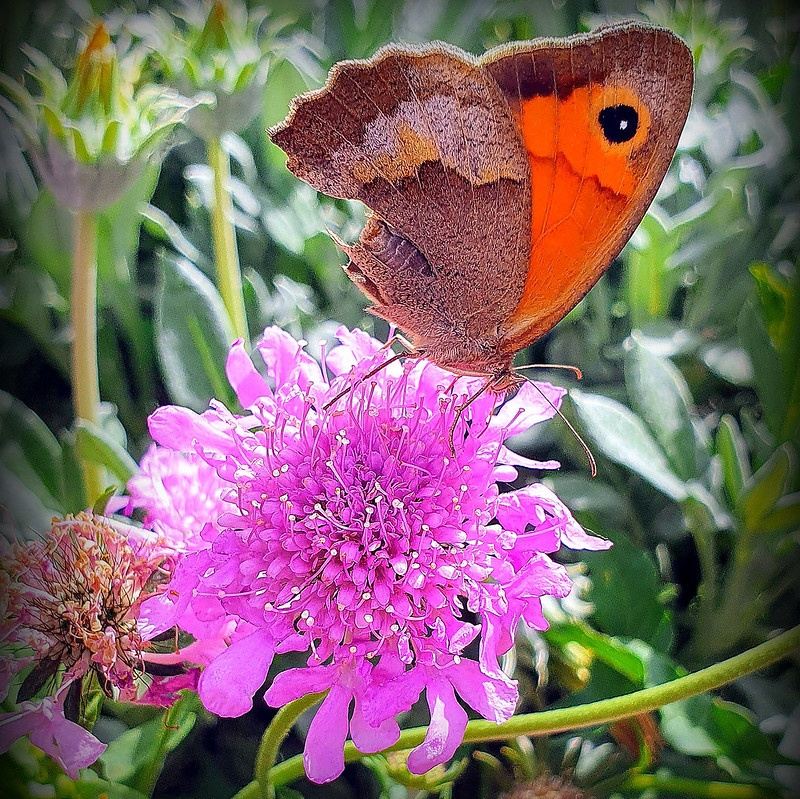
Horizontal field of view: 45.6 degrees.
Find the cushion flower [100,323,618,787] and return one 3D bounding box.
[{"bbox_3d":[-0.025,0.104,0.673,0.298,0.142,0.339,33,70,10],"label":"cushion flower"}]
